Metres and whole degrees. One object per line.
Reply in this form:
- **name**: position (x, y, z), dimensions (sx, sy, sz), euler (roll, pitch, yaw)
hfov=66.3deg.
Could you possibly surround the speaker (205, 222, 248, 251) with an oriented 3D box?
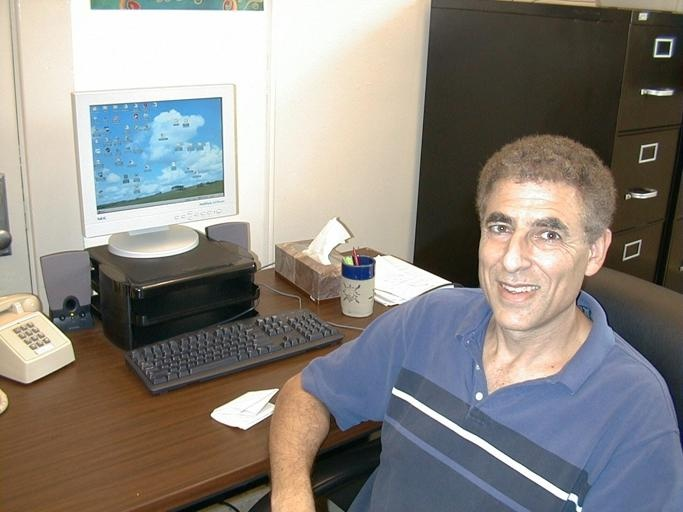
- **speaker**: position (-0.380, -0.085, 1.786), dimensions (0.103, 0.149, 0.120), euler (-6, 12, -25)

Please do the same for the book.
- **book**: position (0.208, 0.057, 1.767), dimensions (0.186, 0.045, 0.189), euler (-14, 33, -29)

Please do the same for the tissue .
- **tissue **: position (-0.122, 0.014, 1.862), dimensions (0.137, 0.230, 0.267), euler (-13, 28, -32)

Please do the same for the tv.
- **tv**: position (-0.534, -0.246, 1.512), dimensions (0.469, 0.435, 0.068), euler (-15, 22, -33)
